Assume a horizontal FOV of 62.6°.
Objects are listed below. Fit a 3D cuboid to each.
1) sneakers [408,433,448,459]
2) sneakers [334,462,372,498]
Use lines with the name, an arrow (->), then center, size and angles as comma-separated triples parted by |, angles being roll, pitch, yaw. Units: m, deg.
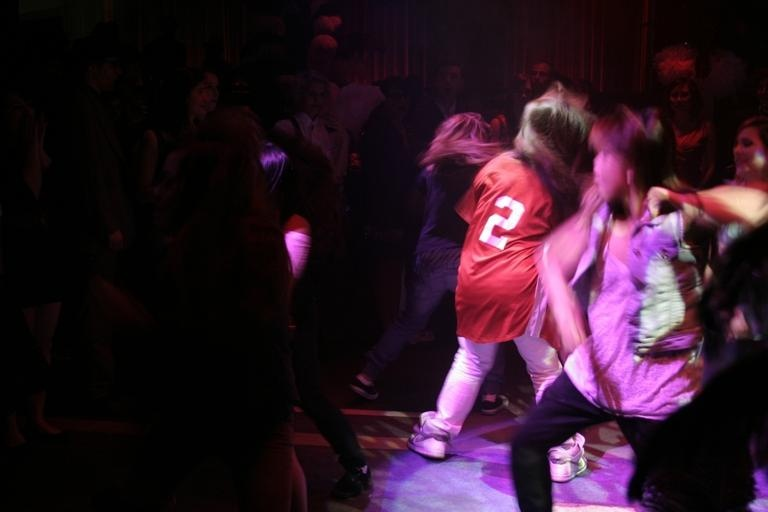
sneakers -> 0.318, 1.331, 4.498 | 0.137, 0.139, 0.306 | 1, 6, -32
sneakers -> -0.196, 1.427, 4.026 | 0.282, 0.188, 0.139 | -16, 10, -41
